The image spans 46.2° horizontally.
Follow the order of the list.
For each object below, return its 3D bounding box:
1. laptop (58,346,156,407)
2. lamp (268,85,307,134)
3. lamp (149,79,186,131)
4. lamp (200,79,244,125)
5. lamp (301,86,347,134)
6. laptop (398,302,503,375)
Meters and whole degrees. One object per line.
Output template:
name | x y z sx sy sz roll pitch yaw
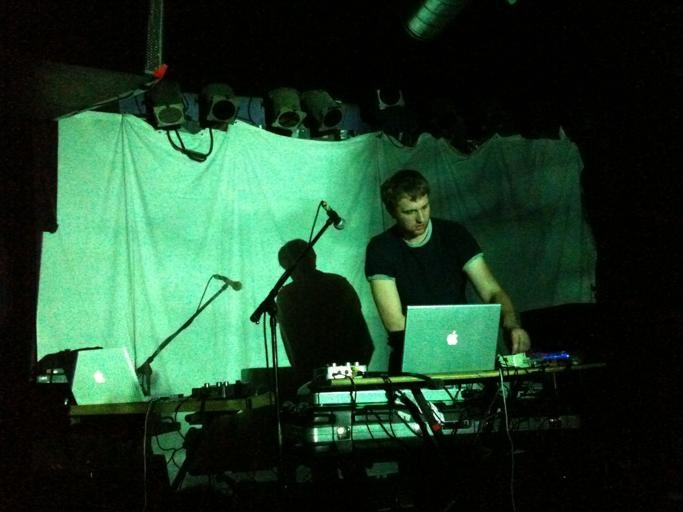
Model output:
laptop | -1.477 0.754 4.962 0.475 0.424 0.344 -7 -18 -13
lamp | -0.507 -1.155 6.341 0.331 0.316 0.410 3 16 -5
lamp | -1.340 -1.150 6.097 0.254 0.364 0.243 -2 -1 -13
lamp | -0.977 -1.152 6.243 0.357 0.299 0.367 -4 10 -33
lamp | -0.209 -1.141 6.399 0.381 0.321 0.419 -9 34 -18
laptop | 0.624 0.485 4.607 0.602 0.393 0.404 1 0 -9
